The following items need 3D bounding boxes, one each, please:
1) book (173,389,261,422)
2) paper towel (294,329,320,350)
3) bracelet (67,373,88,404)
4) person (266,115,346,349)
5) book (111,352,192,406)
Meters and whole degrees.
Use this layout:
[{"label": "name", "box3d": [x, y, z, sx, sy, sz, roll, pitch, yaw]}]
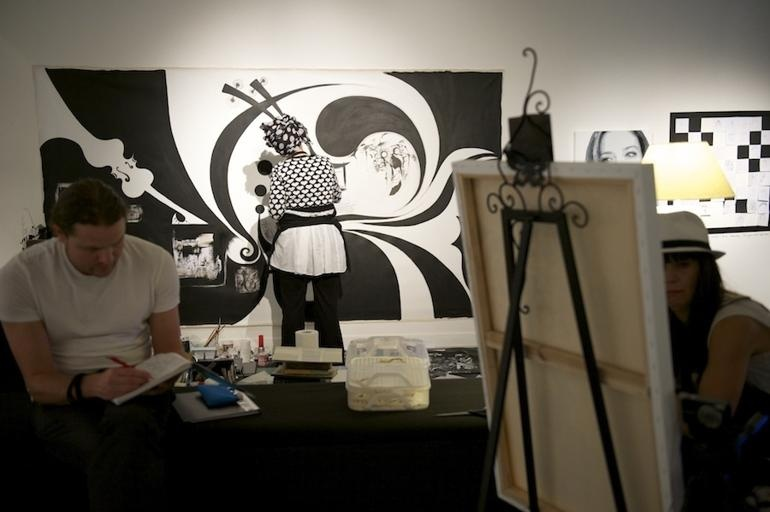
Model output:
[{"label": "book", "box3d": [-0.764, 0.669, 2.803, 0.371, 0.029, 0.274, -3, 16, -15]}, {"label": "paper towel", "box3d": [-0.518, 0.562, 4.125, 0.169, 0.146, 0.168, 1, 0, -17]}, {"label": "bracelet", "box3d": [-1.364, 0.586, 2.708, 0.082, 0.117, 0.044, 1, -4, -26]}, {"label": "person", "box3d": [-0.634, -0.179, 5.148, 0.664, 1.868, 0.523, -2, 15, -10]}, {"label": "book", "box3d": [-1.052, 0.532, 2.760, 0.345, 0.136, 0.238, -8, 18, -29]}]
